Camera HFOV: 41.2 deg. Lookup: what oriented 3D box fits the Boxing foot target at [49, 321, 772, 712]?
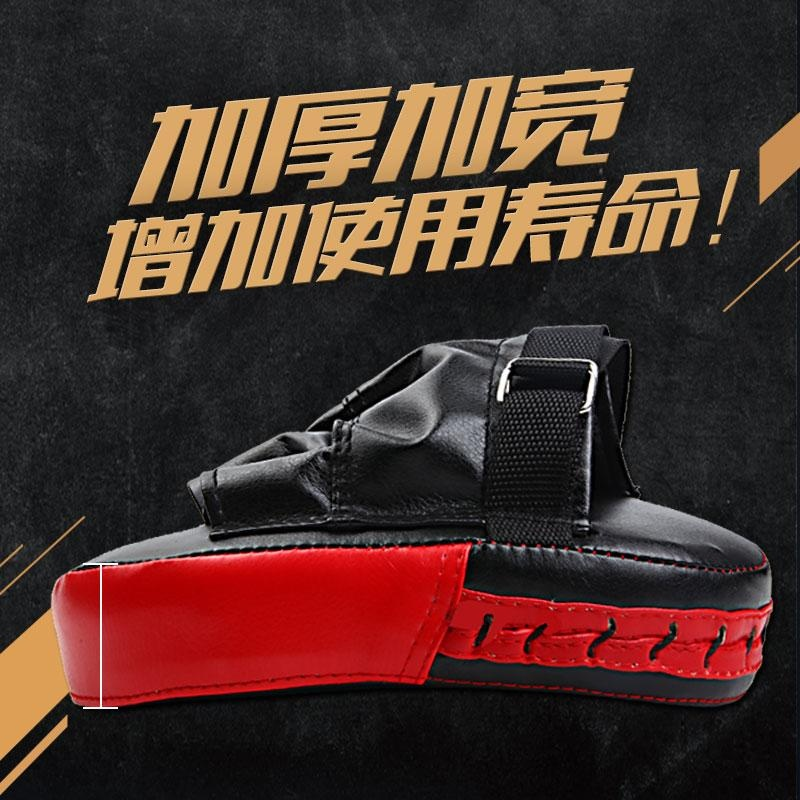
[{"bbox_3d":[0.008,0.095,0.765,0.512,0.201,0.229,1,71,5],"label":"Boxing foot target"}]
